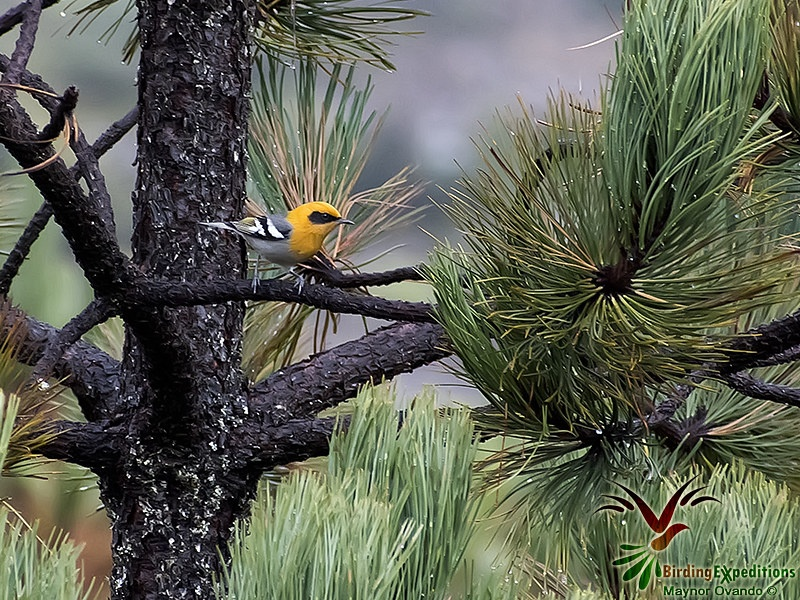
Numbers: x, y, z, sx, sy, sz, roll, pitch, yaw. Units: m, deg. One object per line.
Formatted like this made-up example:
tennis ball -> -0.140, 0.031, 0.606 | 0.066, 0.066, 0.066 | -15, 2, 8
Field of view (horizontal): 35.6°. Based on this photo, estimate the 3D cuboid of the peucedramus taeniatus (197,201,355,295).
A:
peucedramus taeniatus -> -0.497, -0.236, 4.677 | 0.540, 0.373, 0.213 | 10, 7, 19
